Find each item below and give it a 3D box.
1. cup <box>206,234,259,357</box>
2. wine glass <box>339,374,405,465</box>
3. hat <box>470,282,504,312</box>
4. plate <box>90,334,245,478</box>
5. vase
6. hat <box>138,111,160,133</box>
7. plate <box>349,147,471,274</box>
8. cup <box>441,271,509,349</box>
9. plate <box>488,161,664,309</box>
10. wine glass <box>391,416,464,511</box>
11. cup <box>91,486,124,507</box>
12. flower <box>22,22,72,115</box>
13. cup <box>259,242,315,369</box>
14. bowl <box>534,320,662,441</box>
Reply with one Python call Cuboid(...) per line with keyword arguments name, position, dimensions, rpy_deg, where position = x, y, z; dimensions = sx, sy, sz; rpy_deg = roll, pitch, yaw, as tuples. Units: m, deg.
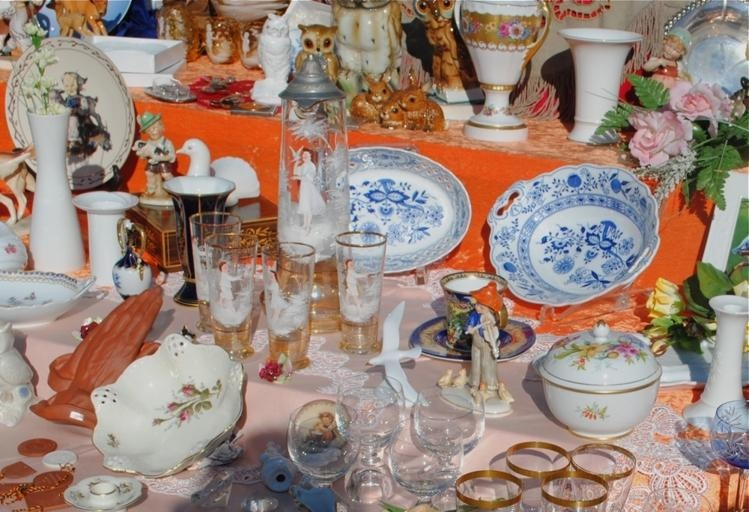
Cuboid(name="cup", position=(-0.329, 0.064, 1.468), dimensions=(0.114, 0.274, 0.242), rpy_deg=(-2, 24, -10))
Cuboid(name="wine glass", position=(-0.005, 0.307, 1.152), dimensions=(0.108, 0.146, 0.102), rpy_deg=(-15, 34, -20))
Cuboid(name="hat", position=(0.246, 0.089, 1.356), dimensions=(0.064, 0.030, 0.062), rpy_deg=(25, 16, 8))
Cuboid(name="plate", position=(-0.437, 0.308, 1.355), dimensions=(0.317, 0.094, 0.278), rpy_deg=(-30, 59, -3))
Cuboid(name="vase", position=(-0.880, -0.166, 1.709), dimensions=(0.140, 0.436, 0.122), rpy_deg=(-4, 26, -16))
Cuboid(name="hat", position=(-0.660, -0.384, 1.819), dimensions=(0.074, 0.059, 0.038), rpy_deg=(14, 26, 23))
Cuboid(name="plate", position=(0.090, -0.133, 1.775), dimensions=(0.318, 0.297, 0.251), rpy_deg=(0, 24, -6))
Cuboid(name="cup", position=(0.188, 0.121, 1.427), dimensions=(0.181, 0.140, 0.150), rpy_deg=(-4, 16, -23))
Cuboid(name="plate", position=(0.577, -0.025, 1.758), dimensions=(0.412, 0.127, 0.380), rpy_deg=(-40, 51, 0))
Cuboid(name="wine glass", position=(0.097, 0.366, 1.120), dimensions=(0.100, 0.147, 0.102), rpy_deg=(-29, 47, -25))
Cuboid(name="cup", position=(-0.503, 0.447, 1.172), dimensions=(0.048, 0.023, 0.052), rpy_deg=(3, 22, -1))
Cuboid(name="flower", position=(-0.950, -0.526, 1.788), dimensions=(0.111, 0.253, 0.463), rpy_deg=(-10, 26, -26))
Cuboid(name="cup", position=(-0.185, 0.113, 1.364), dimensions=(0.107, 0.274, 0.109), rpy_deg=(3, 24, -1))
Cuboid(name="bowl", position=(0.442, 0.246, 1.271), dimensions=(0.262, 0.208, 0.224), rpy_deg=(2, 14, 35))
